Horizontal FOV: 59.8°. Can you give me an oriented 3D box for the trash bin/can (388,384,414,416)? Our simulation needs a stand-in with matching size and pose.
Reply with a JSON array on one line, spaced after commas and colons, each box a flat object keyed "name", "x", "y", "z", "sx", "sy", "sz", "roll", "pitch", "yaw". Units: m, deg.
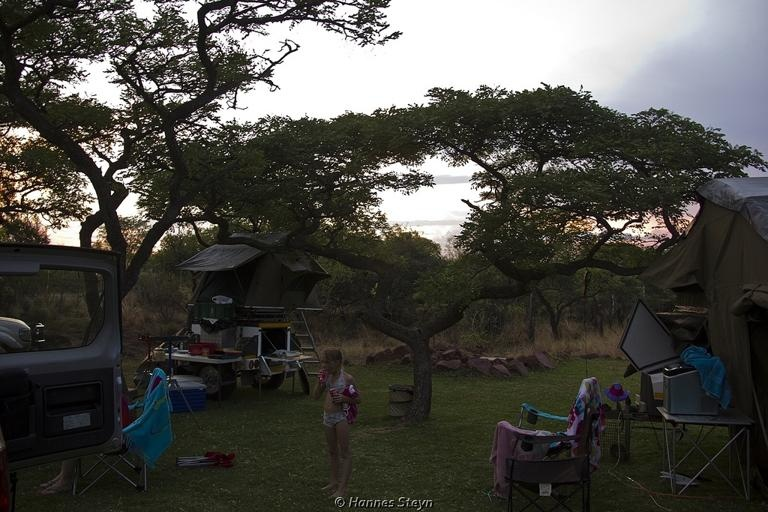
[{"name": "trash bin/can", "x": 0.281, "y": 3.547, "z": 16.314, "sx": 0.653, "sy": 0.594, "sz": 0.635, "roll": -10, "pitch": -15, "yaw": 35}]

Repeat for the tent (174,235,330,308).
[{"name": "tent", "x": -3.509, "y": 0.526, "z": 19.498, "sx": 3.072, "sy": 1.473, "sz": 2.828, "roll": -6, "pitch": -10, "yaw": 42}]

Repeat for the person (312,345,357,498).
[{"name": "person", "x": -0.823, "y": 2.879, "z": 11.858, "sx": 0.713, "sy": 2.548, "sz": 1.485, "roll": 1, "pitch": -5, "yaw": -4}]

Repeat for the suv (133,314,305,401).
[{"name": "suv", "x": -4.082, "y": 2.856, "z": 19.220, "sx": 4.498, "sy": 2.057, "sz": 2.846, "roll": -3, "pitch": -10, "yaw": 38}]

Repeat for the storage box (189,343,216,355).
[{"name": "storage box", "x": -4.916, "y": 2.500, "z": 18.052, "sx": 0.717, "sy": 0.335, "sz": 0.200, "roll": -1, "pitch": -6, "yaw": 18}]

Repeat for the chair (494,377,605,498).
[{"name": "chair", "x": 2.821, "y": 3.088, "z": 11.917, "sx": 2.311, "sy": 2.175, "sz": 1.756, "roll": 1, "pitch": -12, "yaw": 11}]

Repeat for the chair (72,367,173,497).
[{"name": "chair", "x": -4.845, "y": 3.152, "z": 12.245, "sx": 2.071, "sy": 2.057, "sz": 1.919, "roll": -4, "pitch": 0, "yaw": 25}]

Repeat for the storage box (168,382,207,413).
[{"name": "storage box", "x": -4.864, "y": 3.536, "z": 16.313, "sx": 1.153, "sy": 0.654, "sz": 1.071, "roll": 1, "pitch": -1, "yaw": -4}]

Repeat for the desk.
[{"name": "desk", "x": 6.052, "y": 3.688, "z": 12.439, "sx": 1.728, "sy": 1.214, "sz": 1.696, "roll": 13, "pitch": -14, "yaw": -42}]

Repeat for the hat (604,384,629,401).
[{"name": "hat", "x": 4.543, "y": 2.654, "z": 13.131, "sx": 0.417, "sy": 0.187, "sz": 0.397, "roll": -4, "pitch": 15, "yaw": -1}]
